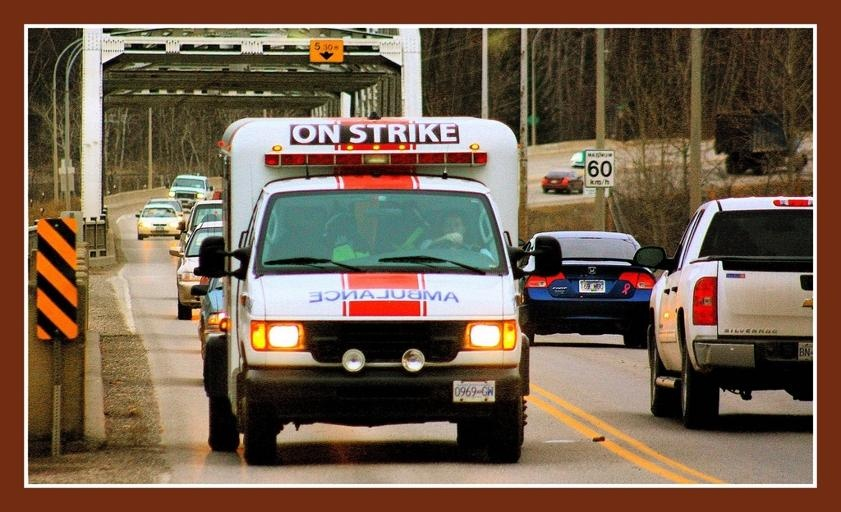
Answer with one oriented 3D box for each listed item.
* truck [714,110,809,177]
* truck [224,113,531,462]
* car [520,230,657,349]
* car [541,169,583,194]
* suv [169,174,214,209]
[{"bbox_3d":[12.865,-4.391,54.518,3.766,2.174,2.590,1,-3,-11],"label":"truck"},{"bbox_3d":[-0.748,0.261,16.964,2.805,2.331,4.584,0,-4,-6],"label":"truck"},{"bbox_3d":[2.880,0.497,24.438,1.676,1.198,3.014,0,3,0],"label":"car"},{"bbox_3d":[8.265,-4.342,83.216,1.814,1.375,2.194,2,6,33],"label":"car"},{"bbox_3d":[-12.908,-3.069,76.613,2.119,1.536,3.615,5,-9,-10],"label":"suv"}]
